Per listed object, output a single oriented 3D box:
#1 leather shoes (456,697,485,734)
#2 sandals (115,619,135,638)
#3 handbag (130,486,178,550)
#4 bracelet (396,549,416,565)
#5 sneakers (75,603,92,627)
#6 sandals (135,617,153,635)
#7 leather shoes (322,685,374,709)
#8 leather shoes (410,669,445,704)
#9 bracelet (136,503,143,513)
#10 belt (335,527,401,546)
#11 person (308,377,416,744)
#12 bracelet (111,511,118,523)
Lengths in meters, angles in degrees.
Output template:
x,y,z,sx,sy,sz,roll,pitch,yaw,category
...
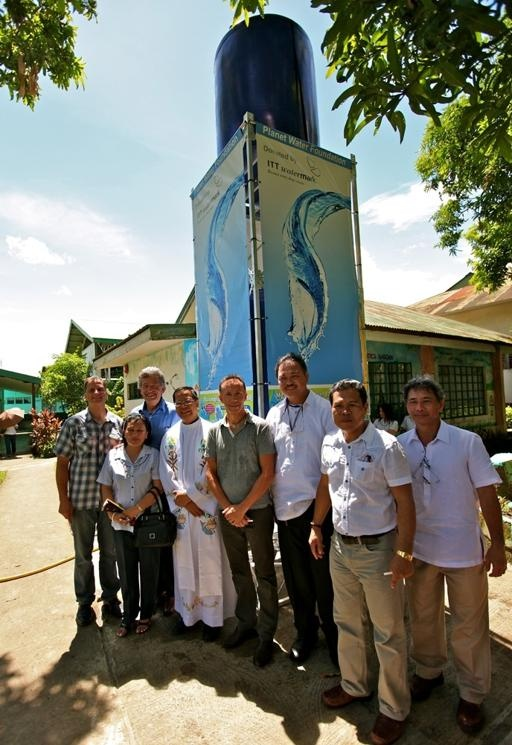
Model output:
x,y,z,sx,sy,sz,roll,pitch,yaw,category
1.070,1.717,2.630,0.138,0.155,0.156,-3,0,18,leather shoes
-0.922,1.819,3.753,0.122,0.108,0.160,-3,0,-15,sandals
-0.733,1.043,3.817,0.302,0.399,0.415,-3,0,-14,handbag
0.725,0.900,2.575,0.078,0.031,0.077,34,-4,-23,bracelet
-1.277,1.837,3.945,0.071,0.085,0.195,7,-6,-5,sneakers
-0.803,1.833,3.790,0.075,0.042,0.177,5,-5,3,sandals
0.493,1.755,2.827,0.283,0.124,0.098,3,15,2,leather shoes
0.945,1.727,2.914,0.228,0.098,0.076,-13,8,-40,leather shoes
-0.835,0.992,3.804,0.039,0.052,0.021,-5,-7,-34,bracelet
0.574,0.865,2.732,0.294,0.081,0.099,-3,0,15,belt
0.542,0.920,2.827,0.404,1.847,0.646,-3,0,-22,person
-1.008,1.038,3.757,0.058,0.078,0.064,-4,-12,-20,bracelet
